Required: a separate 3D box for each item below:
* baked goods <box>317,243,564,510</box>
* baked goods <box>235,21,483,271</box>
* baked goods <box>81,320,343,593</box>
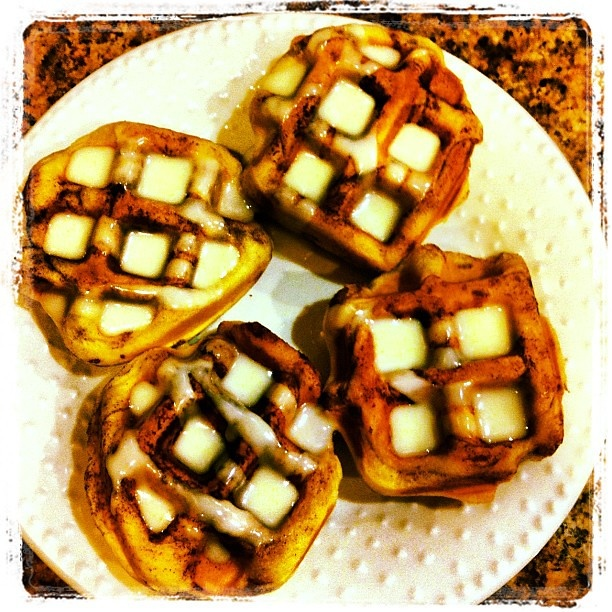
[{"bbox_3d":[0.281,0.138,1.743,0.486,0.163,0.506,-29,87,-2],"label":"baked goods"},{"bbox_3d":[0.127,-0.319,1.889,0.601,0.193,0.567,-16,80,-27],"label":"baked goods"},{"bbox_3d":[-0.176,0.313,1.725,0.494,0.156,0.519,-21,86,-2],"label":"baked goods"}]
